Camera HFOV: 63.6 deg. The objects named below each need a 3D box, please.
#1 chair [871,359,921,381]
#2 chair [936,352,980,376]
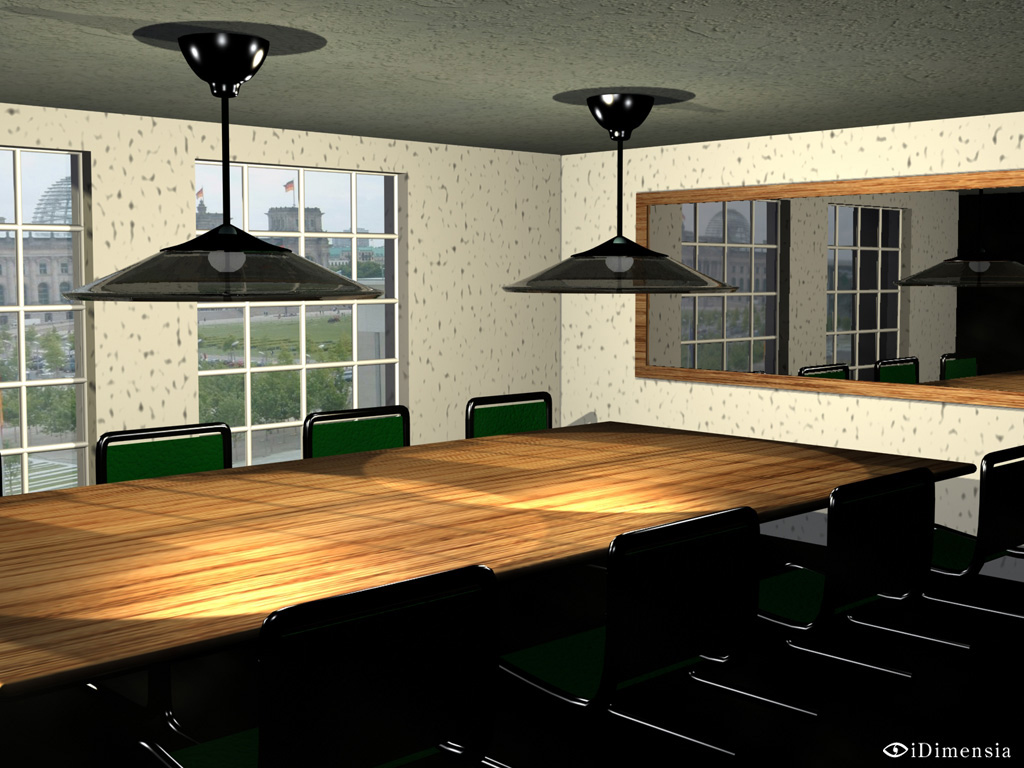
[{"bbox_3d":[2.111,-0.073,4.492,0.156,0.205,0.141,0,-1,-32],"label":"chair"},{"bbox_3d":[2.335,-0.097,4.306,0.144,0.198,0.146,-2,-4,37],"label":"chair"}]
